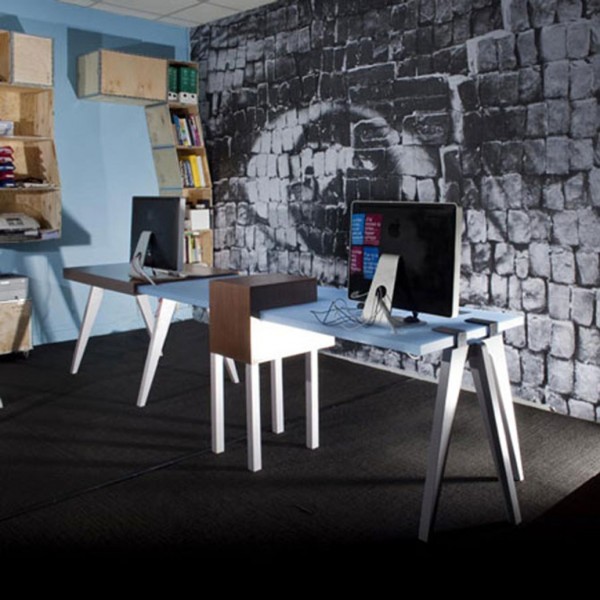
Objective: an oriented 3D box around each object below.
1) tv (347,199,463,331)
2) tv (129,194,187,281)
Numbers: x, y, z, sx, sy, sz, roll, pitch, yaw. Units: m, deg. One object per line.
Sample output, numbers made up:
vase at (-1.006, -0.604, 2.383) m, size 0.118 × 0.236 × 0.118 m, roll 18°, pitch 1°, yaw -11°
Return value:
tv at (0.433, -0.141, 2.241) m, size 0.101 × 0.456 × 0.423 m, roll -8°, pitch 14°, yaw -41°
tv at (-0.977, -0.414, 3.683) m, size 0.155 × 0.471 × 0.469 m, roll -10°, pitch 16°, yaw -44°
